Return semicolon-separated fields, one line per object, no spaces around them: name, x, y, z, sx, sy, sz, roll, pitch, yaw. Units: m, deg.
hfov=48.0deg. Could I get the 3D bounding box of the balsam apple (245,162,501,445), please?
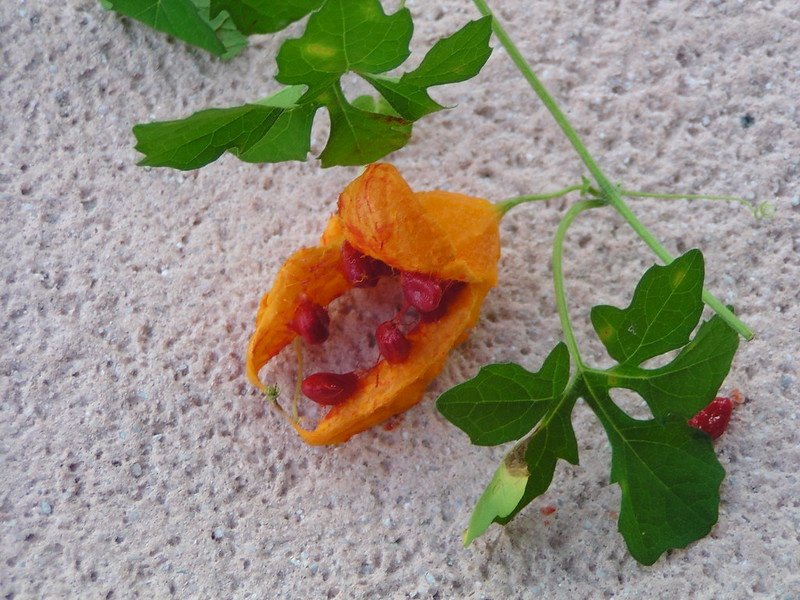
balsam apple;0.003;0.019;1.589;0.496;0.150;0.373;-45;73;21
